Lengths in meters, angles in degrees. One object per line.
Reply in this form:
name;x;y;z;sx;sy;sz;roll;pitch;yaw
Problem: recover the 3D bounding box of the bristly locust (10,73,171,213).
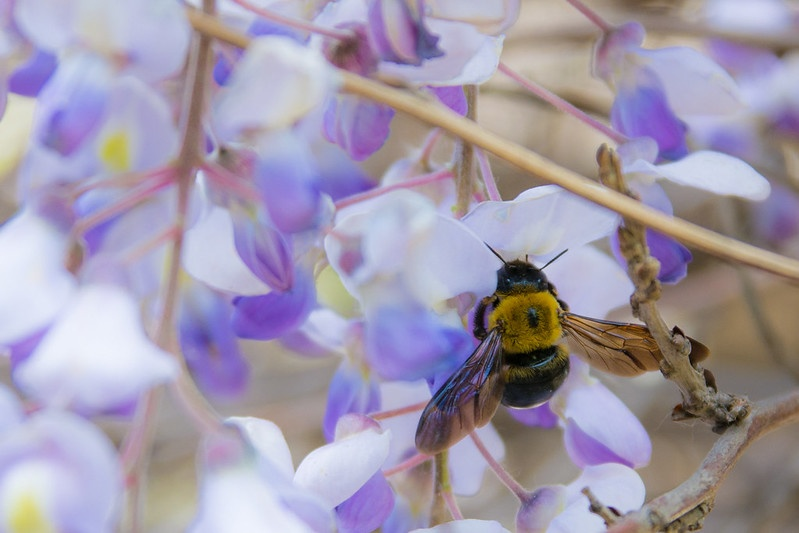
bristly locust;-0.220;-0.108;0.740;0.105;0.040;0.096;-25;-56;-41
